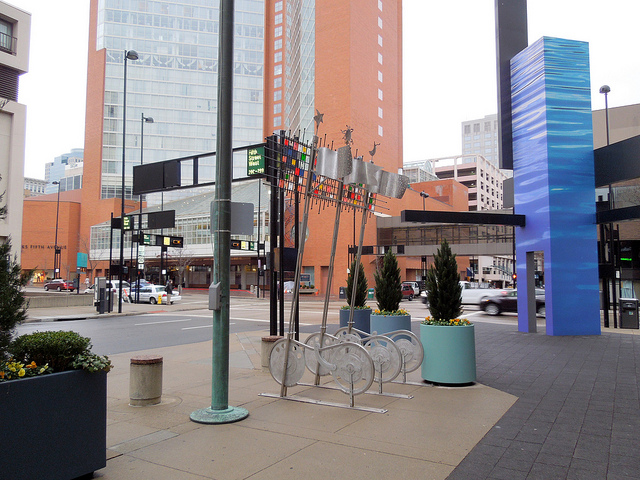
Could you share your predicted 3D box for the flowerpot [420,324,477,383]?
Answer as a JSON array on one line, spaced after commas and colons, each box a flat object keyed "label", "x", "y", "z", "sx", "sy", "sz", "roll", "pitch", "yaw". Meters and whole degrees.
[{"label": "flowerpot", "x": 2.726, "y": 2.395, "z": 11.807, "sx": 1.177, "sy": 1.197, "sz": 1.110, "roll": -1, "pitch": -7, "yaw": 9}]

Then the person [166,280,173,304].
[{"label": "person", "x": -10.554, "y": 3.691, "z": 39.032, "sx": 0.358, "sy": 1.512, "sz": 1.589, "roll": -1, "pitch": -5, "yaw": -13}]

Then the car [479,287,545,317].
[{"label": "car", "x": 10.098, "y": 3.295, "z": 29.605, "sx": 3.128, "sy": 1.222, "sz": 1.561, "roll": 1, "pitch": -6, "yaw": 25}]

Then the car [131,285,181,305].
[{"label": "car", "x": -11.604, "y": 3.758, "z": 39.029, "sx": 3.067, "sy": 1.065, "sz": 1.440, "roll": 2, "pitch": -1, "yaw": 31}]

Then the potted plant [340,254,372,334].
[{"label": "potted plant", "x": 1.058, "y": 1.692, "z": 16.136, "sx": 0.859, "sy": 2.266, "sz": 0.892, "roll": -3, "pitch": -19, "yaw": 19}]

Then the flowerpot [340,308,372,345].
[{"label": "flowerpot", "x": 0.989, "y": 2.329, "z": 15.538, "sx": 0.744, "sy": 0.842, "sz": 0.874, "roll": 0, "pitch": -5, "yaw": 7}]

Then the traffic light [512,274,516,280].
[{"label": "traffic light", "x": 13.014, "y": 2.456, "z": 37.293, "sx": 0.346, "sy": 0.418, "sz": 0.353, "roll": -1, "pitch": 1, "yaw": -15}]

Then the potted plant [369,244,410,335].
[{"label": "potted plant", "x": 1.878, "y": 1.589, "z": 15.016, "sx": 1.000, "sy": 2.603, "sz": 1.037, "roll": 0, "pitch": -1, "yaw": -6}]
